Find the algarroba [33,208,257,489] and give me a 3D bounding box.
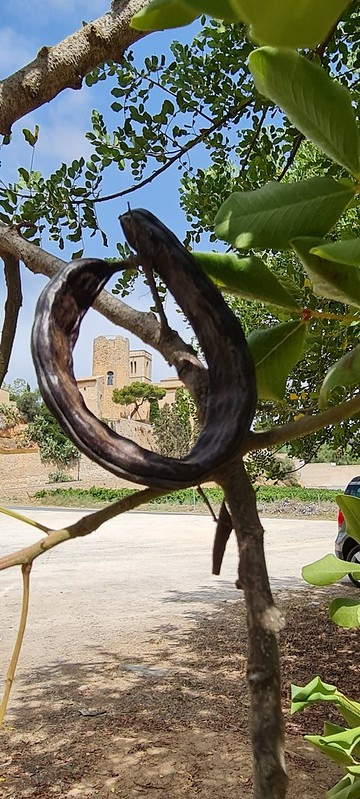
[{"bbox_3d":[-0.062,-0.088,0.714,0.250,0.326,0.300,-8,12,-41],"label":"algarroba"}]
